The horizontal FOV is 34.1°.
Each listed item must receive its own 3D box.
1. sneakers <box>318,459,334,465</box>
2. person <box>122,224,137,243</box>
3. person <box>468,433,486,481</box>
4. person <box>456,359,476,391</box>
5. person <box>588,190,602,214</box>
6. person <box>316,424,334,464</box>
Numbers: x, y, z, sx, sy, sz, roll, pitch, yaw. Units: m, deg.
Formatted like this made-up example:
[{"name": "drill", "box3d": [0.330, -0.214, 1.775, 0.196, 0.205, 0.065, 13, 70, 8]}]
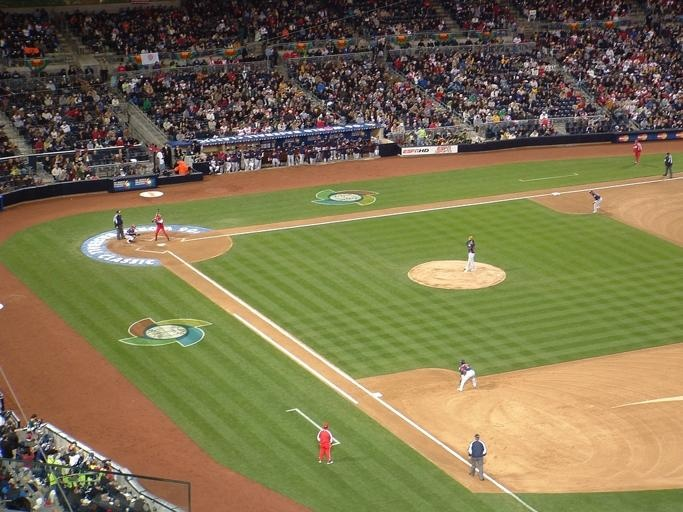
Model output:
[{"name": "sneakers", "box3d": [-0.726, 9.599, 51.649, 0.649, 0.215, 0.206, -12, 20, -36]}, {"name": "person", "box3d": [-13.566, -1.467, 71.171, 0.822, 1.044, 1.295, -12, 20, -12]}, {"name": "person", "box3d": [6.175, 9.182, 50.830, 0.765, 2.024, 0.952, -10, 22, -3]}, {"name": "person", "box3d": [6.326, 6.088, 56.577, 1.217, 1.421, 0.550, 0, -19, -24]}, {"name": "person", "box3d": [17.632, -3.676, 77.216, 1.287, 1.960, 0.776, -9, 52, 20]}, {"name": "person", "box3d": [-0.842, 8.529, 51.869, 0.698, 2.020, 1.406, -7, 21, 5]}]
